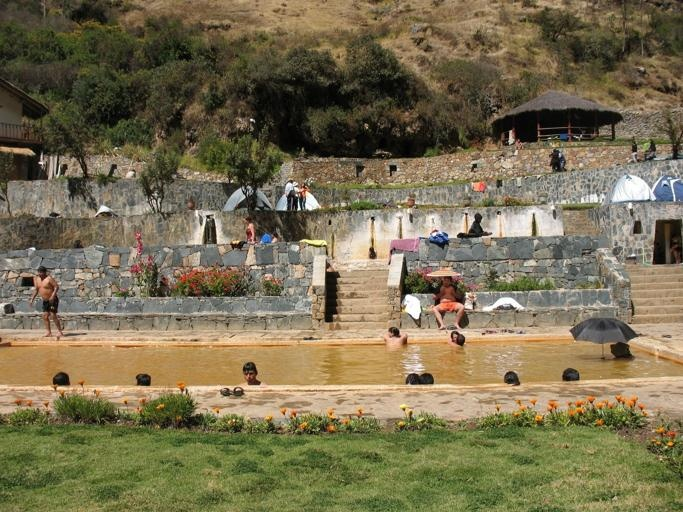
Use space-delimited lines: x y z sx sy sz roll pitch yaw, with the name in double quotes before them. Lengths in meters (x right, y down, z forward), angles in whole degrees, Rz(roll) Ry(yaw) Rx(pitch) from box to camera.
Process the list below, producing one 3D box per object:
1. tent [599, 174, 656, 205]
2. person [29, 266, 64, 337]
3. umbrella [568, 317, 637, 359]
"tent" 17.923 -3.960 90.038 2.628 2.100 2.364 -1 5 23
"person" -17.041 2.622 83.047 1.292 4.309 1.127 -3 8 7
"umbrella" 13.995 4.020 77.678 3.129 1.462 0.726 -2 -1 6
